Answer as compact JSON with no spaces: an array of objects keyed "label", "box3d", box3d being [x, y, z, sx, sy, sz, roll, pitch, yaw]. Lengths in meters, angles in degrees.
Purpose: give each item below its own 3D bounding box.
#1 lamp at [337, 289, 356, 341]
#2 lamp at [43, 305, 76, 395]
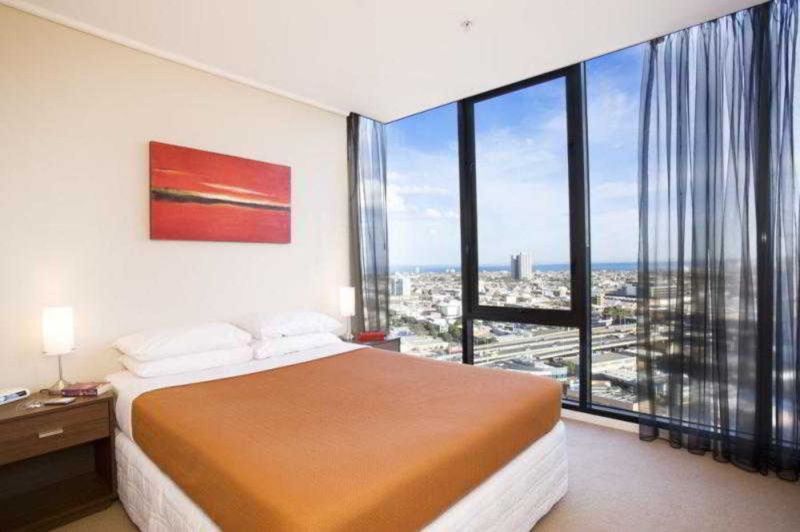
[{"label":"lamp","box3d":[-0.565,0.532,5.705,0.178,0.576,0.172,-3,-2,15]},{"label":"lamp","box3d":[-2.720,0.663,4.117,0.219,0.571,0.329,-2,-1,-34]}]
